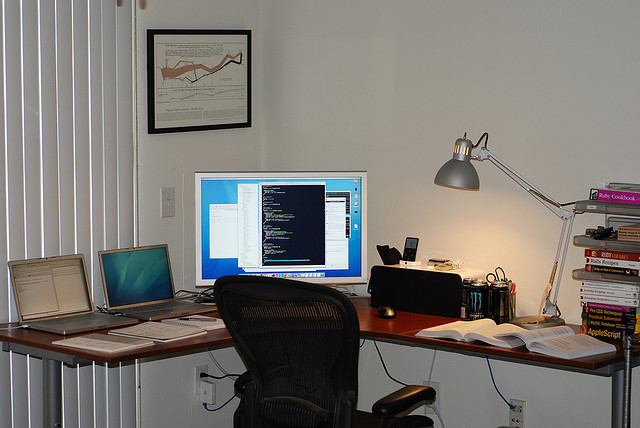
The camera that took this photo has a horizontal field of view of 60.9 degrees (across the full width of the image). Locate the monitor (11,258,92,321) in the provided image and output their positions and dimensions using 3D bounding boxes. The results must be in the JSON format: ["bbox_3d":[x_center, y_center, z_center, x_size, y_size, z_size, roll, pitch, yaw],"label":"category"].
[{"bbox_3d":[-1.260,0.327,2.576,0.356,0.243,0.233,-6,26,-34],"label":"monitor"}]

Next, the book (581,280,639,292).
[{"bbox_3d":[1.261,0.317,2.389,0.217,0.032,0.014,2,3,29],"label":"book"}]

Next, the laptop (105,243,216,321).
[{"bbox_3d":[-0.803,0.304,2.737,0.418,0.278,0.402,2,0,40],"label":"laptop"}]

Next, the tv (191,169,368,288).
[{"bbox_3d":[-0.213,0.074,2.822,0.667,0.418,0.022,0,0,-1],"label":"tv"}]

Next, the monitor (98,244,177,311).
[{"bbox_3d":[-0.822,0.331,2.763,0.321,0.315,0.479,-2,-1,28],"label":"monitor"}]

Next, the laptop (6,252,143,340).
[{"bbox_3d":[-1.148,0.366,2.507,0.417,0.317,0.315,3,3,34],"label":"laptop"}]

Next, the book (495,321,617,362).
[{"bbox_3d":[0.964,0.532,2.241,0.392,0.068,0.268,0,3,-29],"label":"book"}]

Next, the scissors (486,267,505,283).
[{"bbox_3d":[0.896,0.320,2.808,0.090,0.068,0.151,2,3,17],"label":"scissors"}]
